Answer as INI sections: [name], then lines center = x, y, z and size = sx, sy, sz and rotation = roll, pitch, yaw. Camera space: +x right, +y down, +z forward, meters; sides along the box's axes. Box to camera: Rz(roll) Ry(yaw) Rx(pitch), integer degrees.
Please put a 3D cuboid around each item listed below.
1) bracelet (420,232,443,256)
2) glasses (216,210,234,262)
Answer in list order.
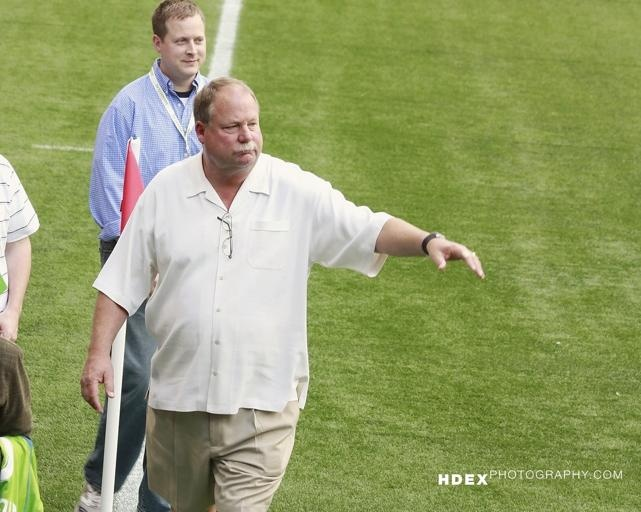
[bracelet]
center = 0.549, -0.080, 6.573
size = 0.129, 0.128, 0.078
rotation = -6, 20, -26
[glasses]
center = -0.489, -0.105, 6.654
size = 0.071, 0.210, 0.126
rotation = -1, 21, -17
